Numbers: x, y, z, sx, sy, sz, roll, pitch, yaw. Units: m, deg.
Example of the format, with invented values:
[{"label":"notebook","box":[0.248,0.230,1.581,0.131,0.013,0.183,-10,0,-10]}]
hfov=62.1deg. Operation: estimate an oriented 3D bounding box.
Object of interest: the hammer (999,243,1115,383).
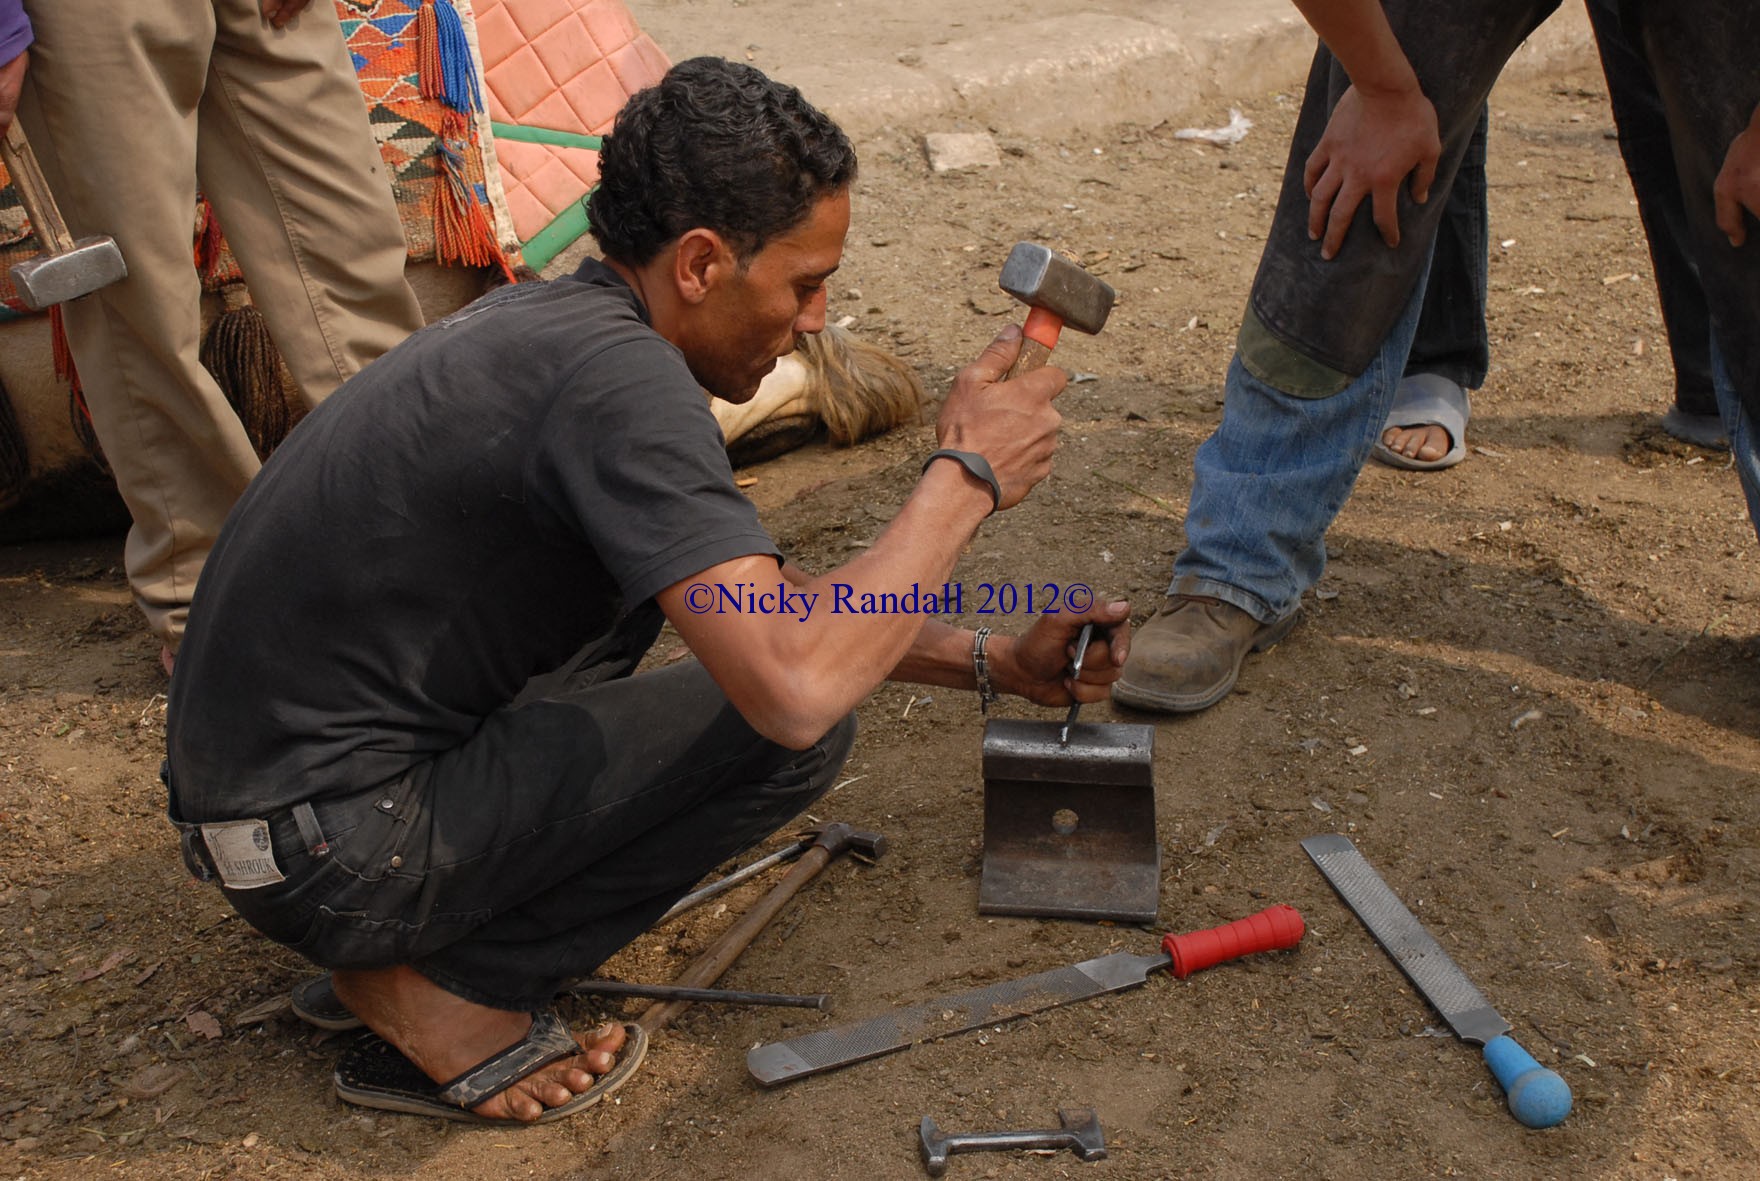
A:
[{"label":"hammer","box":[0.265,-0.622,3.196,0.218,0.491,0.320,2,71,0]}]

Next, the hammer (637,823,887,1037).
[{"label":"hammer","box":[-0.268,0.760,3.347,0.257,0.086,0.662,9,31,34]}]

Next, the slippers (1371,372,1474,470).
[{"label":"slippers","box":[1.757,-0.549,4.703,0.237,0.198,0.447,3,23,16]}]

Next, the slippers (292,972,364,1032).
[{"label":"slippers","box":[-1.206,0.909,3.241,0.237,0.106,0.086,4,7,5]}]

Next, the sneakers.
[{"label":"sneakers","box":[0.859,0.130,3.873,0.552,0.230,0.203,-22,48,-38]}]
